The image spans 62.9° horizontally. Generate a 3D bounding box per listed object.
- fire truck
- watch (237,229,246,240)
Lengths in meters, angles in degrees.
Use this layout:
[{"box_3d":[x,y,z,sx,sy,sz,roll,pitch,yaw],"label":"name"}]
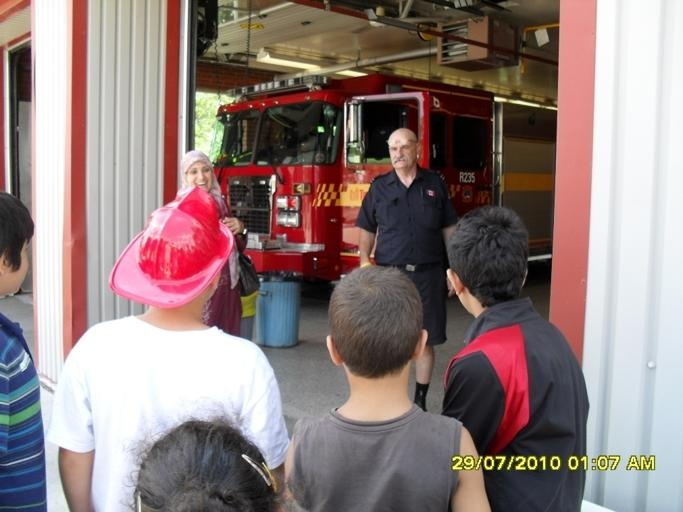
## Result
[{"box_3d":[0.464,-1.370,8.927,3.891,2.062,2.894,-1,1,-44],"label":"fire truck"},{"box_3d":[-0.781,-0.168,4.377,0.051,0.046,0.073,-2,2,10],"label":"watch"}]
